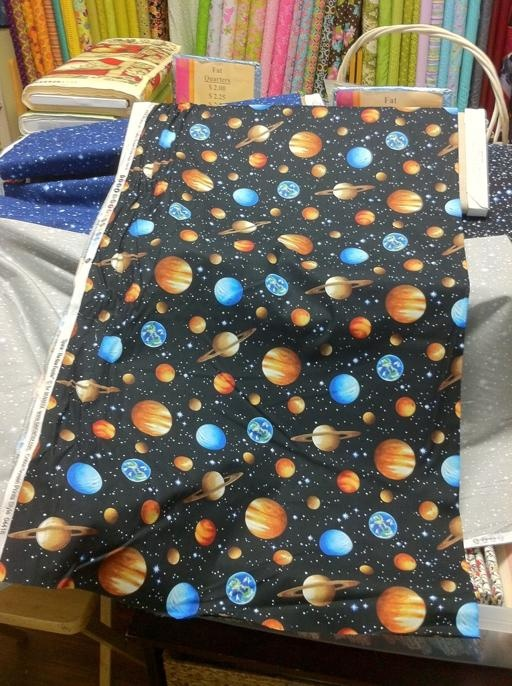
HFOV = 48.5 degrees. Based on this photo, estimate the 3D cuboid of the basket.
[{"bbox_3d":[0.459,-0.652,1.419,0.364,0.265,0.654,11,33,20],"label":"basket"}]
